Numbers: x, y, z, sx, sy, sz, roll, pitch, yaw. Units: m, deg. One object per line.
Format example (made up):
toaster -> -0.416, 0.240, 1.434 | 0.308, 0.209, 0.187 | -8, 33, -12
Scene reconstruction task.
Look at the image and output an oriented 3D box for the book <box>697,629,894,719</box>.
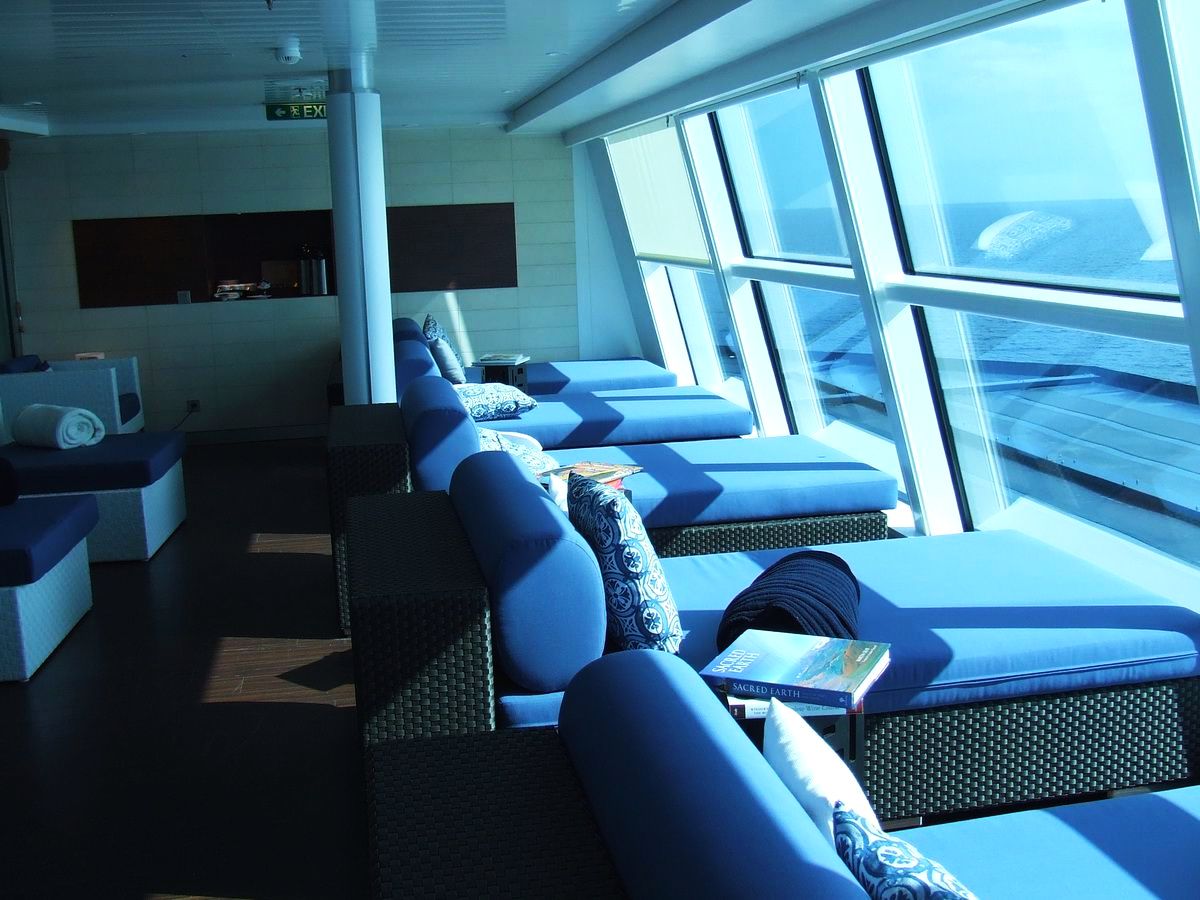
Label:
book -> 0.604, 0.689, 2.657 | 0.417, 0.074, 0.404 | 1, 10, 25
